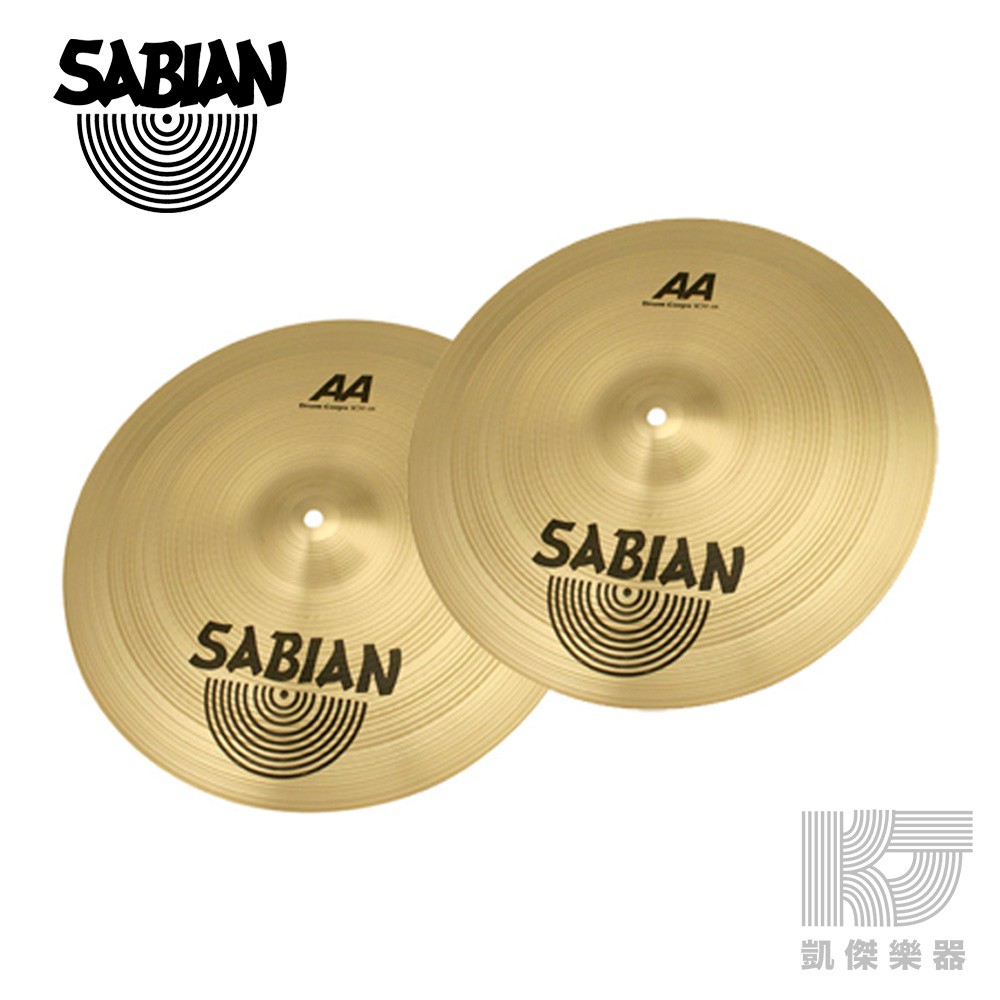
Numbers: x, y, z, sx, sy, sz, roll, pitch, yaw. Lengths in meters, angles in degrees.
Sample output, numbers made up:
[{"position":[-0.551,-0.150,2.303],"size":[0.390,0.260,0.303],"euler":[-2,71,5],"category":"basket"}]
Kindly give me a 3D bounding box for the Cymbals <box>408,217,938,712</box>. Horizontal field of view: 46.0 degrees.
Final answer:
[{"position":[0.390,-0.080,2.729],"size":[1.207,1.056,0.534],"euler":[-3,-26,-1],"category":"Cymbals"}]
